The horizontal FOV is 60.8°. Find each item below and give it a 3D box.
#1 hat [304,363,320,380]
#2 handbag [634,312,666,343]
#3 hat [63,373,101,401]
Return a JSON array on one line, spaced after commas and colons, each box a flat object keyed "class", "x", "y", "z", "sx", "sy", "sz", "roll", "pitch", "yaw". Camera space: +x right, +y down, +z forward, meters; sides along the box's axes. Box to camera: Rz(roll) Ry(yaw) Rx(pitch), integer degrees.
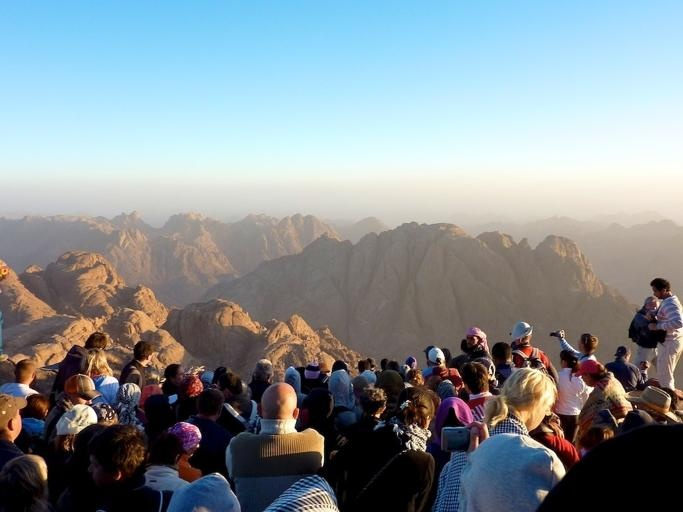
[{"class": "hat", "x": -0.604, "y": 2.363, "z": 11.947, "sx": 0.274, "sy": 0.317, "sz": 0.319, "roll": 1, "pitch": 3, "yaw": -6}, {"class": "handbag", "x": 6.789, "y": 1.595, "z": 12.816, "sx": 0.640, "sy": 0.683, "sz": 0.505, "roll": 15, "pitch": 17, "yaw": 19}, {"class": "hat", "x": -3.453, "y": 1.735, "z": 7.773, "sx": 0.391, "sy": 0.241, "sz": 0.295, "roll": 8, "pitch": 3, "yaw": -6}]
